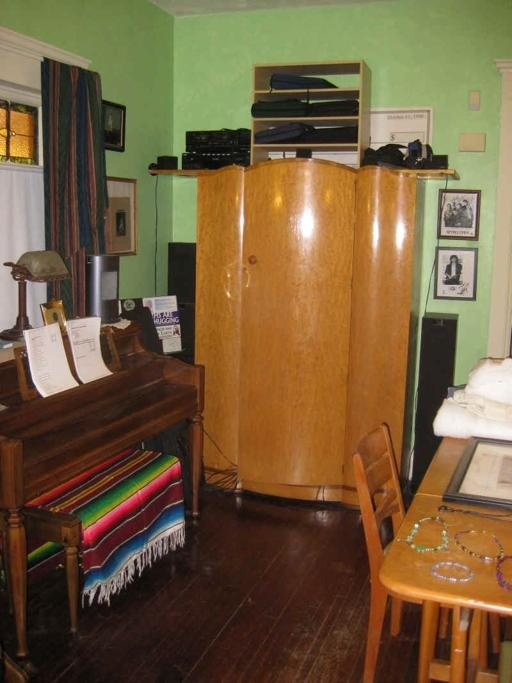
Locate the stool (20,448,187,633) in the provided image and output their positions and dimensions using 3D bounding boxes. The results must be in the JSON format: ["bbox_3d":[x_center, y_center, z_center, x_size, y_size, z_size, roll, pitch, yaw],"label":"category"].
[{"bbox_3d":[-0.595,0.674,2.231,0.473,0.432,0.778,2,7,20],"label":"stool"}]

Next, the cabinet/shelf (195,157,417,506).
[{"bbox_3d":[0.240,-0.025,3.251,1.216,1.934,0.329,1,5,0],"label":"cabinet/shelf"}]

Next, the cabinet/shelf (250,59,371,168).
[{"bbox_3d":[0.342,-1.451,3.560,0.868,0.802,0.346,3,7,14],"label":"cabinet/shelf"}]

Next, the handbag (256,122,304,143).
[{"bbox_3d":[0.156,-1.336,3.619,0.213,0.072,0.169,3,24,25],"label":"handbag"}]

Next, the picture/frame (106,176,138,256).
[{"bbox_3d":[-0.906,-0.816,3.738,0.041,0.533,0.517,-8,14,-35],"label":"picture/frame"}]

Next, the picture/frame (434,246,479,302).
[{"bbox_3d":[1.356,-0.468,3.792,0.341,0.471,0.016,2,7,18],"label":"picture/frame"}]

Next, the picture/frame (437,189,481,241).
[{"bbox_3d":[1.353,-0.854,3.736,0.316,0.421,0.029,2,9,15],"label":"picture/frame"}]
